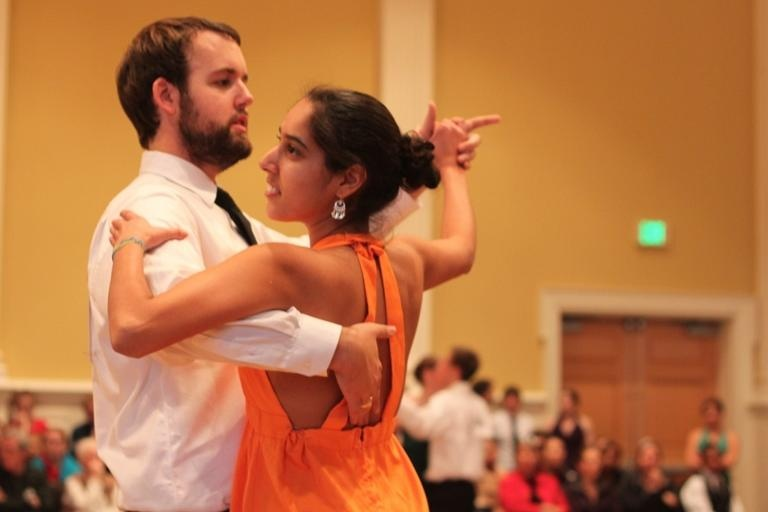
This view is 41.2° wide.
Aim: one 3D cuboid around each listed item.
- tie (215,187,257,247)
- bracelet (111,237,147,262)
[{"bbox_3d":[-0.683,-0.168,4.730,0.261,0.094,0.197,48,-12,-6],"label":"tie"},{"bbox_3d":[-1.065,-0.034,4.265,0.102,0.038,0.088,-24,-40,-6],"label":"bracelet"}]
